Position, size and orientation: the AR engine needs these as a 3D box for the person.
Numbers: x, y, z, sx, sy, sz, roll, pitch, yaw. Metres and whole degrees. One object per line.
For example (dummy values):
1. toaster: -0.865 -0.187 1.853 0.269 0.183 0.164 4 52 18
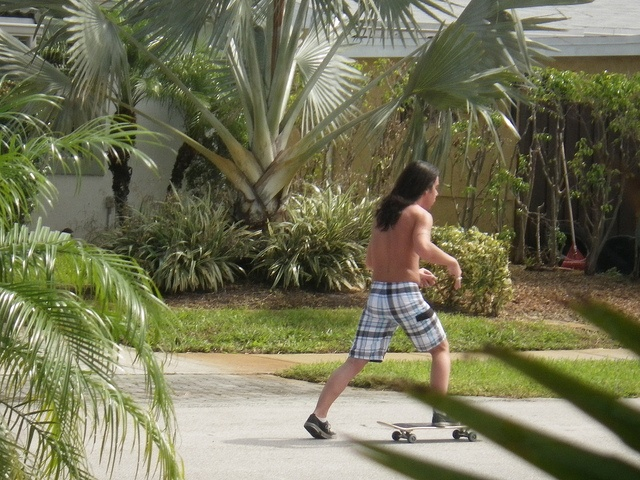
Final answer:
1. person: 0.504 0.422 5.661 0.983 1.949 0.742 1 7 2
